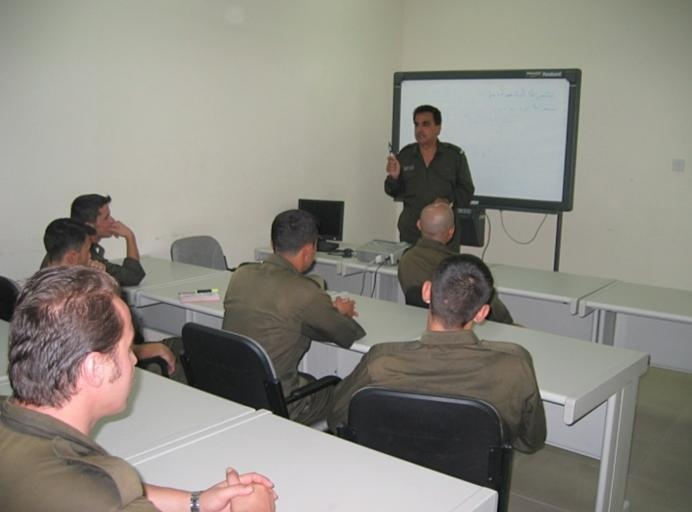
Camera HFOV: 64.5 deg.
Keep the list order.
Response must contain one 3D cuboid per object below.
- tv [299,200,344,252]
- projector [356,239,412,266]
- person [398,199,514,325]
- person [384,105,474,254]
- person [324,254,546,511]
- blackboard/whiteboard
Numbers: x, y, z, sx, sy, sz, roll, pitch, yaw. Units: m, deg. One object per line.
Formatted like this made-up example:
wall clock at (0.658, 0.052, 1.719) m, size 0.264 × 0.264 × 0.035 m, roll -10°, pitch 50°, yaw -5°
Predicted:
tv at (-0.192, -0.277, 4.677) m, size 0.395 × 0.419 × 0.200 m, roll 12°, pitch 21°, yaw 30°
projector at (0.287, -0.045, 4.143) m, size 0.236 × 0.067 × 0.238 m, roll 8°, pitch 17°, yaw 32°
person at (0.489, -0.017, 3.234) m, size 0.482 × 0.777 × 0.488 m, roll 13°, pitch 47°, yaw 4°
person at (0.716, -0.320, 4.808) m, size 0.725 × 1.930 × 0.551 m, roll 0°, pitch 4°, yaw 1°
person at (0.327, 0.431, 1.879) m, size 0.773 × 0.802 × 0.444 m, roll 0°, pitch 12°, yaw -3°
blackboard/whiteboard at (1.311, -1.068, 5.050) m, size 1.446 × 1.094 × 0.148 m, roll 8°, pitch 15°, yaw 33°
